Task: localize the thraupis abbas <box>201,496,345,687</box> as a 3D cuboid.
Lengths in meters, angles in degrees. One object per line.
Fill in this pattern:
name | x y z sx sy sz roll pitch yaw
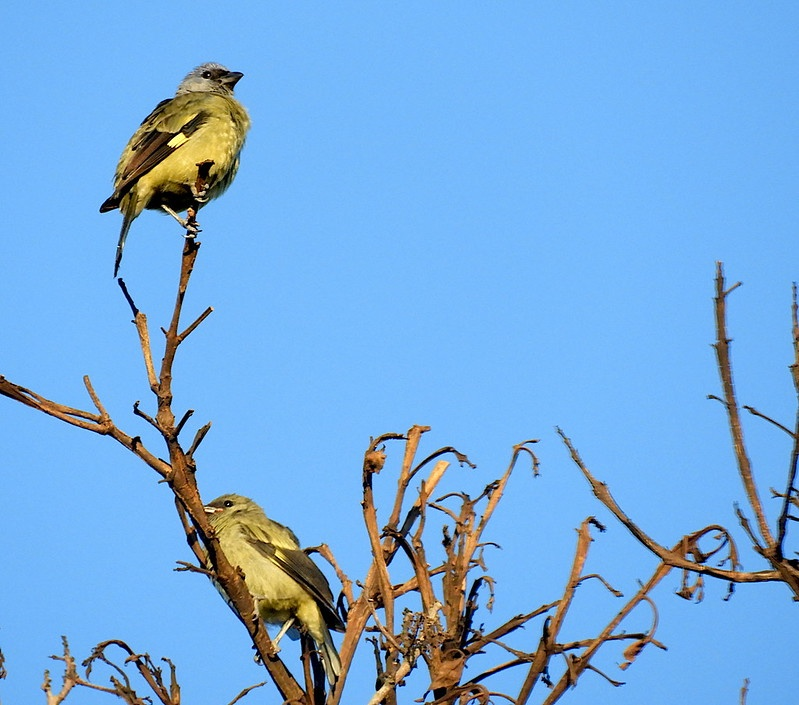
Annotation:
thraupis abbas | -0.772 1.435 10.182 1.094 0.991 0.500 20 -45 -17
